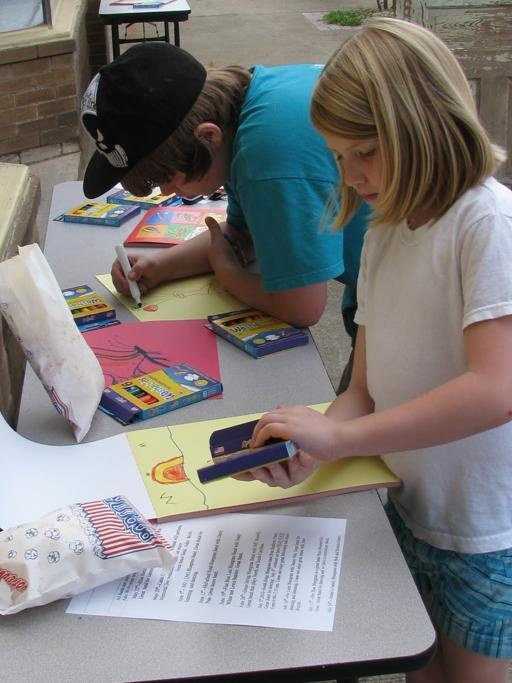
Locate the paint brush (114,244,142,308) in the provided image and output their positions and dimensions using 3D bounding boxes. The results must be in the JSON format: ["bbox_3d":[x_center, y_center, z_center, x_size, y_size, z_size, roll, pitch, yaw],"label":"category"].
[{"bbox_3d":[-0.280,-0.145,1.326,0.033,0.031,0.214,-25,64,4],"label":"paint brush"}]

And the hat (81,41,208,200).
[{"bbox_3d":[-0.216,-0.419,1.153,0.283,0.149,0.194,-45,50,0],"label":"hat"}]

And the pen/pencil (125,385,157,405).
[{"bbox_3d":[-0.188,0.088,0.975,0.065,0.015,0.020,27,56,35],"label":"pen/pencil"}]
